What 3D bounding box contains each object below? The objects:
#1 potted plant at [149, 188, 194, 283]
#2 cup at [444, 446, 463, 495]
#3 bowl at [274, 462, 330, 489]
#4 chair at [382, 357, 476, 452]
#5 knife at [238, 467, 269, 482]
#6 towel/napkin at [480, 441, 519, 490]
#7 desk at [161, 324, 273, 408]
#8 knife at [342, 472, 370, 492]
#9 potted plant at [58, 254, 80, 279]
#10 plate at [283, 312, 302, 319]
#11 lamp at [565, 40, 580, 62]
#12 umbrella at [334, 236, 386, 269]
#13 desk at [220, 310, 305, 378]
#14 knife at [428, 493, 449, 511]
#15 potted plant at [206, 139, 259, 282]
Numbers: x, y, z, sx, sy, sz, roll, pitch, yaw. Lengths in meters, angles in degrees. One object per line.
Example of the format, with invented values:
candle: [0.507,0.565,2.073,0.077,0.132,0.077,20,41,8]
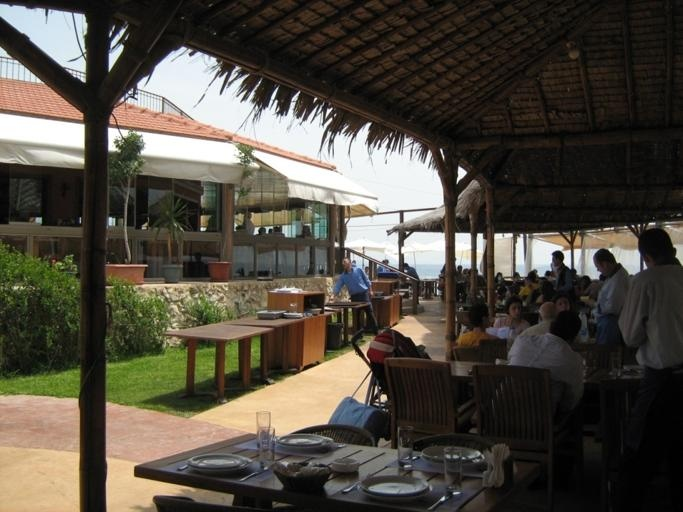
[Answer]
potted plant: [-3.843,-0.461,15.099,0.843,2.022,1.568,0,3,-13]
cup: [0.778,1.479,4.691,0.117,0.293,0.265,1,3,9]
bowl: [-0.271,1.513,4.643,0.232,0.087,0.227,2,-8,0]
chair: [0.910,1.446,6.943,0.778,1.201,0.858,-1,-1,26]
knife: [-0.638,1.573,4.820,0.039,0.041,0.278,-1,5,30]
towel/napkin: [1.120,1.475,4.765,0.244,0.275,0.230,1,3,4]
desk: [-1.864,1.938,10.309,0.963,0.891,1.771,0,-1,18]
knife: [0.114,1.595,4.775,0.057,0.056,0.519,1,1,20]
potted plant: [-5.236,0.210,12.860,0.389,0.439,0.356,-4,-8,20]
plate: [-0.872,1.071,12.089,0.340,0.091,0.384,2,3,15]
lamp: [3.510,-3.118,10.213,0.048,0.203,0.205,2,27,-13]
umbrella: [0.875,-0.374,30.469,1.476,1.164,1.569,3,-2,-20]
desk: [-1.296,1.515,11.933,1.048,1.036,1.096,1,0,24]
knife: [0.655,1.639,4.488,0.051,0.036,0.257,-9,10,28]
potted plant: [-2.628,-1.045,16.103,1.113,3.285,2.238,0,3,-12]
